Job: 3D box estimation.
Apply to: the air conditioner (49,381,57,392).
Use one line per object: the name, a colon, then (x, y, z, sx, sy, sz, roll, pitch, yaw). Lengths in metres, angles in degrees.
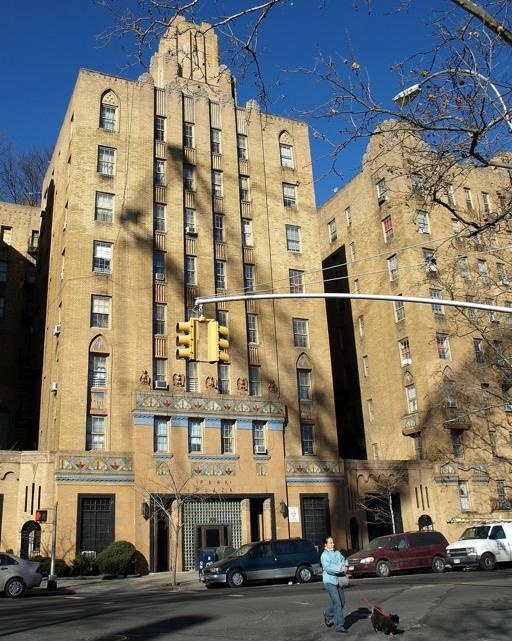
air conditioner: (-12.564, 4.078, 36.774, 0.321, 0.505, 0.939, 6, -25, -20)

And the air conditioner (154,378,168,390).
air conditioner: (-5.859, 4.008, 36.519, 1.030, 0.784, 0.526, 13, -39, -30)

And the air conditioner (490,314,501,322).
air conditioner: (19.937, -0.215, 49.262, 0.945, 0.773, 0.226, 11, -19, -21)

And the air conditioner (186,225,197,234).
air conditioner: (-4.453, -6.227, 40.977, 0.754, 0.735, 0.274, 8, -24, -32)

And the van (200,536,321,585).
van: (0.108, 9.724, 23.746, 4.478, 1.557, 2.023, 7, -29, -15)

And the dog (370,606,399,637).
dog: (1.921, 4.507, 8.792, 0.318, 0.380, 0.515, -5, -19, 1)

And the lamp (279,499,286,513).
lamp: (1.810, 11.943, 37.721, 0.530, 0.965, 0.255, 11, -25, -36)

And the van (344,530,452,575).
van: (6.072, 9.818, 24.838, 4.533, 1.672, 1.123, 3, -21, -19)

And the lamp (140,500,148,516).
lamp: (-6.238, 10.589, 33.268, 0.417, 0.816, 0.272, -1, -20, -10)
